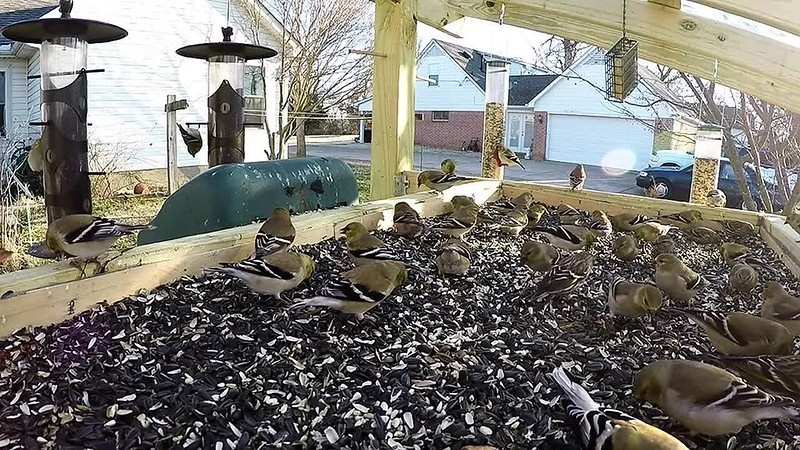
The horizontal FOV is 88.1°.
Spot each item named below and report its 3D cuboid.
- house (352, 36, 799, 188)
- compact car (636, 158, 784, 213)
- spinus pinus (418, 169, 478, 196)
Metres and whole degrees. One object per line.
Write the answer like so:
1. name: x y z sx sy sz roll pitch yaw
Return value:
1. house: 5.647 -3.420 13.253 3.877 3.652 12.016 10 6 -43
2. compact car: 7.757 -0.966 9.965 2.775 0.847 1.221 19 18 24
3. spinus pinus: 0.716 -0.555 5.720 0.949 0.279 0.368 -1 21 8
